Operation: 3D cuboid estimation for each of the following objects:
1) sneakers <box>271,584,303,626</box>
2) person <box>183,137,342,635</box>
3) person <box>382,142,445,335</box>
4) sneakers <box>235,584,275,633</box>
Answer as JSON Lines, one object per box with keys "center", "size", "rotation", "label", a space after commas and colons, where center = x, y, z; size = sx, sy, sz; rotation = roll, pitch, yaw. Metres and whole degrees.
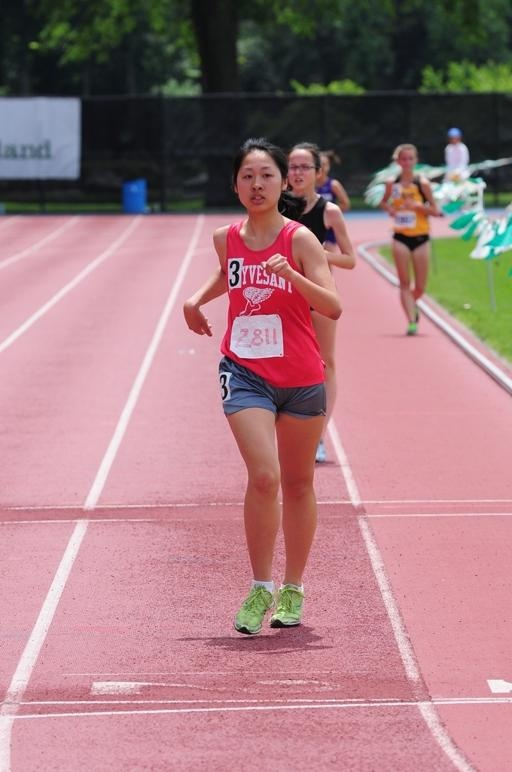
{"center": [0.119, 0.814, 3.058], "size": [0.079, 0.085, 0.204], "rotation": [0, -4, 11], "label": "sneakers"}
{"center": [0.069, 0.018, 2.938], "size": [0.487, 1.787, 0.618], "rotation": [0, 3, -15], "label": "person"}
{"center": [2.011, -1.885, 10.808], "size": [0.698, 2.493, 1.102], "rotation": [1, 2, 8], "label": "person"}
{"center": [0.018, 0.782, 3.010], "size": [0.091, 0.098, 0.221], "rotation": [18, 28, 9], "label": "sneakers"}
